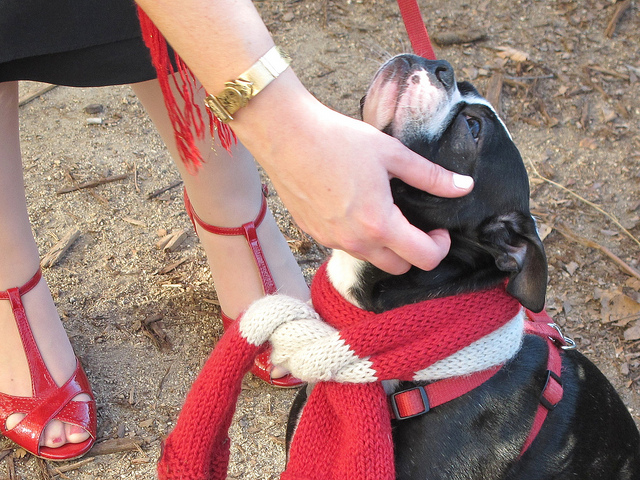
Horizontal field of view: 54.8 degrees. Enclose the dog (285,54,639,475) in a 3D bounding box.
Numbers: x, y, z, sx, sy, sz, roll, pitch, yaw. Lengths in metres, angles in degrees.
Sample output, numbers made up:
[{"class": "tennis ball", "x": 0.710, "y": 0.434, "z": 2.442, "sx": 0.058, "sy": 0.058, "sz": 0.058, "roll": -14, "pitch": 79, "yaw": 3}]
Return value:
[{"class": "dog", "x": 0.557, "y": 0.257, "z": 2.197, "sx": 1.169, "sy": 0.775, "sz": 1.311, "roll": 9, "pitch": 62, "yaw": 12}]
